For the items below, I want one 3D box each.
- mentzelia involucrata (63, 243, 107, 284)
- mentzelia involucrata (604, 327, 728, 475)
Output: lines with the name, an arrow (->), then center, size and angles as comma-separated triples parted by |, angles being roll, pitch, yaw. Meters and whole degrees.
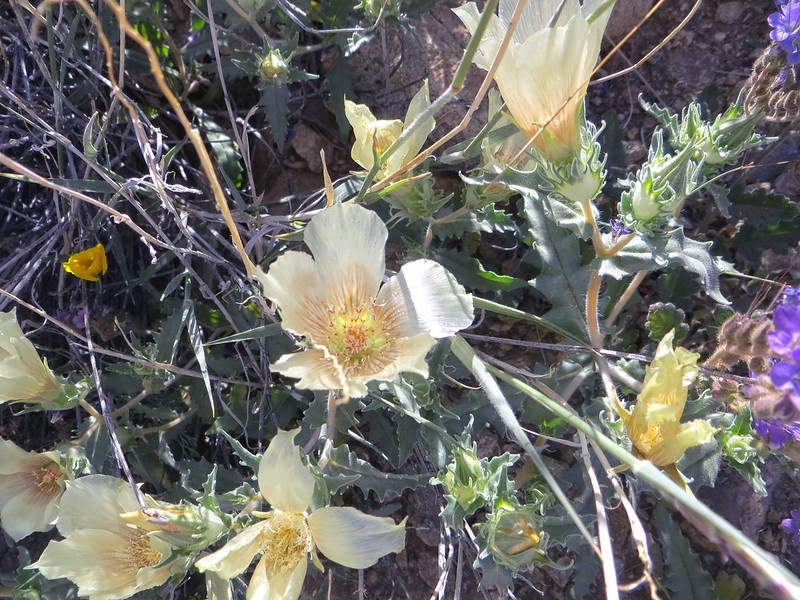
mentzelia involucrata -> -1.463, -0.170, 3.286 | 0.176, 0.186, 0.086 | -24, 14, -8
mentzelia involucrata -> 0.950, 0.368, 2.606 | 0.285, 0.220, 0.471 | -8, 18, 36
